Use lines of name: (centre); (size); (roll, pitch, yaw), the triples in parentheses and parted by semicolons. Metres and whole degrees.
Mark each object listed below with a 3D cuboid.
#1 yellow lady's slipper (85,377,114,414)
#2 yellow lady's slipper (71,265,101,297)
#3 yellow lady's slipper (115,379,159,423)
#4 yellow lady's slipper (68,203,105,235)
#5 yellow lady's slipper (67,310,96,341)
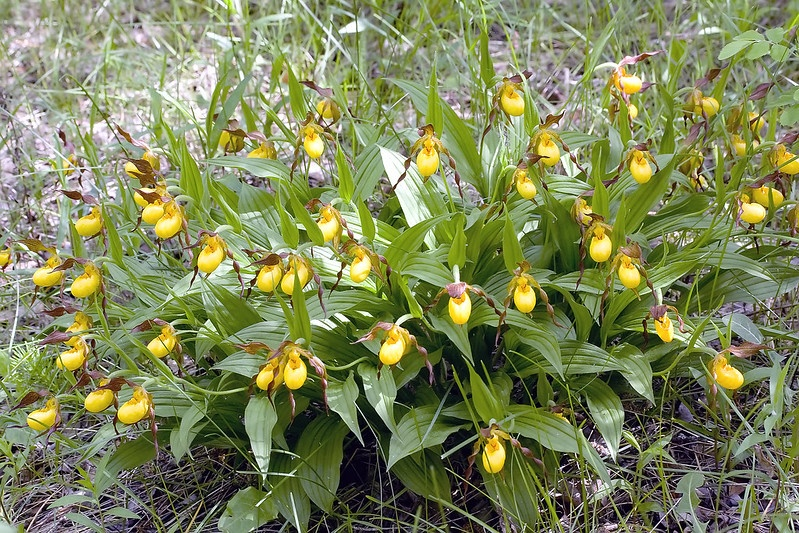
yellow lady's slipper: (-1.566, 0.696, 3.449); (0.134, 0.090, 0.088); (-2, 51, 1)
yellow lady's slipper: (-1.757, 0.088, 3.741); (0.118, 0.092, 0.207); (10, 69, 3)
yellow lady's slipper: (-1.398, 0.698, 3.487); (0.156, 0.094, 0.224); (-3, 90, -27)
yellow lady's slipper: (-1.797, -0.246, 3.834); (0.172, 0.198, 0.149); (2, 51, 5)
yellow lady's slipper: (-1.856, 0.314, 3.806); (0.138, 0.078, 0.192); (11, 97, 17)
